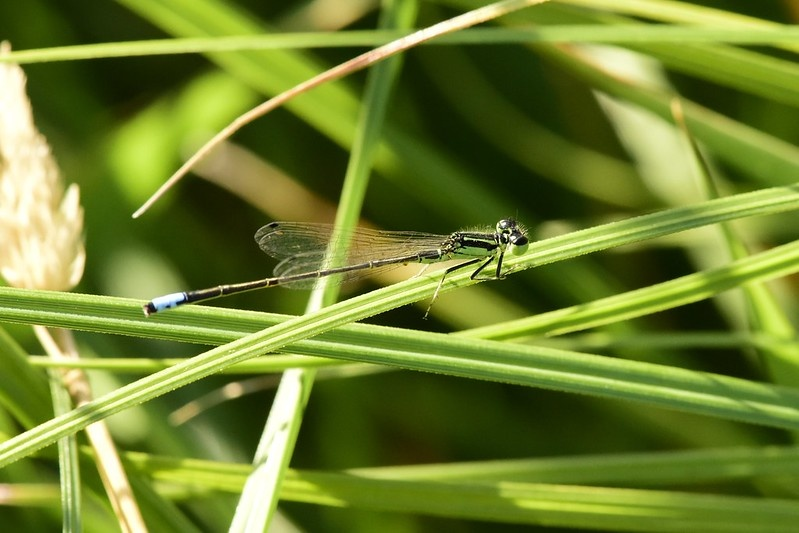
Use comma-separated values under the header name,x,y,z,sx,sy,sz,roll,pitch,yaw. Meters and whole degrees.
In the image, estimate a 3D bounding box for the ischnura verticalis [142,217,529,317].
name,x,y,z,sx,sy,sz,roll,pitch,yaw
ischnura verticalis,-0.470,0.010,7.016,3.408,0.596,0.903,-9,-98,-10
